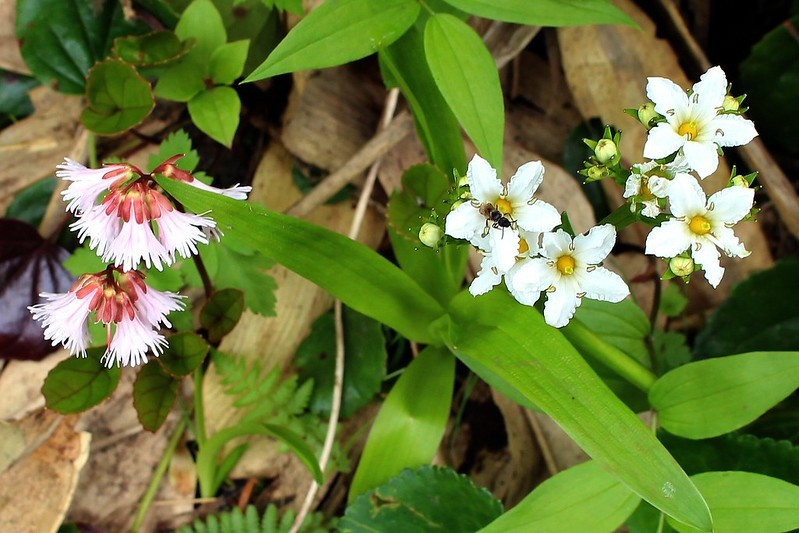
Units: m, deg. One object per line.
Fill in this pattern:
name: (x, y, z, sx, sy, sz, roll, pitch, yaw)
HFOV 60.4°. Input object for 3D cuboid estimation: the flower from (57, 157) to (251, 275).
flower: (-0.900, -0.142, 2.459, 0.476, 0.467, 0.160, 21, -12, -2)

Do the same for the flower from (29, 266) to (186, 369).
flower: (-1.048, 0.185, 2.544, 0.413, 0.442, 0.247, 13, -10, -9)

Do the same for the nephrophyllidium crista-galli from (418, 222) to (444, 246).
nephrophyllidium crista-galli: (0.107, -0.107, 2.334, 0.061, 0.065, 0.079, 40, -2, 38)

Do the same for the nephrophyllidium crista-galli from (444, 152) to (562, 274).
nephrophyllidium crista-galli: (0.348, -0.222, 2.272, 0.338, 0.121, 0.332, 9, -27, -19)

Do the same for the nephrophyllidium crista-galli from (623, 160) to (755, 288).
nephrophyllidium crista-galli: (0.951, -0.123, 2.194, 0.344, 0.306, 0.144, 9, 17, -5)

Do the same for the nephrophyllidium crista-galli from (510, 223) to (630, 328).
nephrophyllidium crista-galli: (0.556, 0.009, 2.184, 0.314, 0.371, 0.115, 23, 5, -2)

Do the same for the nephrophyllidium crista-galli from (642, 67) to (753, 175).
nephrophyllidium crista-galli: (0.943, -0.480, 2.214, 0.359, 0.336, 0.223, 0, 20, -28)
